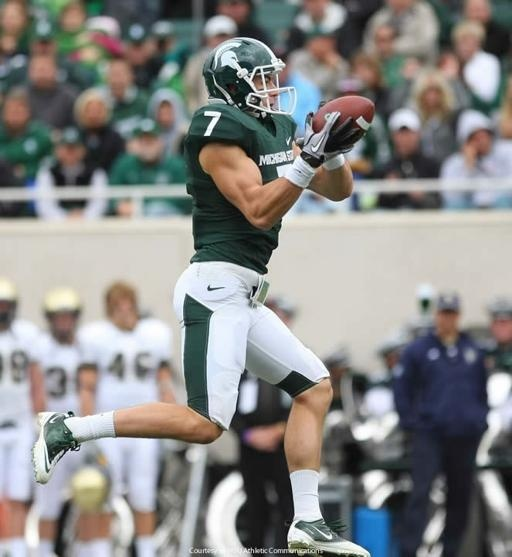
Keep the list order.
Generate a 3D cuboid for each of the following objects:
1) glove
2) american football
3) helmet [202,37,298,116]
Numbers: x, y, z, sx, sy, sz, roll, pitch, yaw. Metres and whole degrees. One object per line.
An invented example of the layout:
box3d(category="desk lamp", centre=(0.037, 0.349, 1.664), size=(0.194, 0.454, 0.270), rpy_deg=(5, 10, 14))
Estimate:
box3d(category="glove", centre=(0.298, -0.583, 4.835), size=(0.267, 0.244, 0.362), rpy_deg=(5, 17, 13))
box3d(category="american football", centre=(0.346, -0.620, 4.856), size=(0.292, 0.173, 0.188), rpy_deg=(-27, -1, 0))
box3d(category="helmet", centre=(-0.031, -0.836, 5.080), size=(0.404, 0.276, 0.308), rpy_deg=(3, 5, 5))
